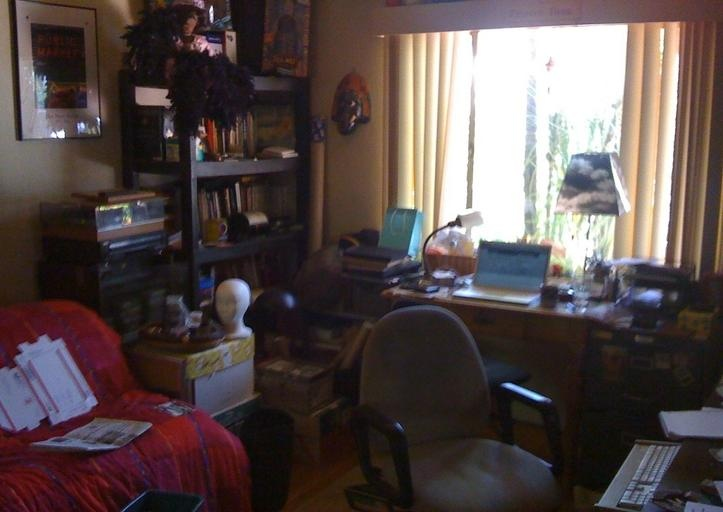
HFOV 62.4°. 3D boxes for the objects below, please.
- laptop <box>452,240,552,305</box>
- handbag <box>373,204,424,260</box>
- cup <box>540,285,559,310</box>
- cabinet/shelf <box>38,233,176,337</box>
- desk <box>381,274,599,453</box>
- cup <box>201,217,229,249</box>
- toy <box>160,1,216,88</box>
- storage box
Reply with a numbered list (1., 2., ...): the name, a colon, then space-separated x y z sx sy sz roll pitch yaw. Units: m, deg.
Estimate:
1. laptop: 0.855 0.099 3.655 0.495 0.303 0.483 5 12 31
2. handbag: 0.248 -0.151 4.088 0.246 0.324 0.298 8 15 27
3. cup: 1.089 0.247 3.487 0.110 0.129 0.113 -1 5 0
4. cabinet/shelf: -1.573 0.135 3.733 0.543 0.677 0.744 7 9 24
5. desk: 0.837 0.422 3.727 1.192 1.162 0.931 2 4 39
6. cup: -0.991 -0.167 4.044 0.167 0.160 0.105 -4 14 -21
7. toy: -1.064 -1.285 3.623 0.260 0.489 0.247 -3 14 -14
8. storage box: -0.610 0.511 3.686 1.145 0.732 1.169 5 6 33
